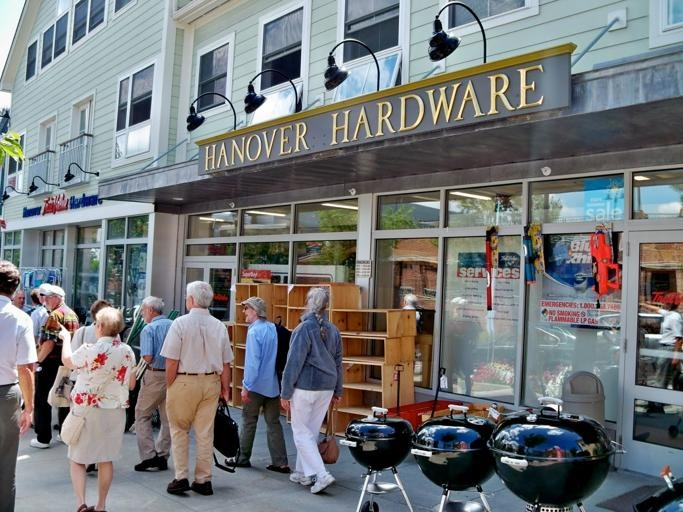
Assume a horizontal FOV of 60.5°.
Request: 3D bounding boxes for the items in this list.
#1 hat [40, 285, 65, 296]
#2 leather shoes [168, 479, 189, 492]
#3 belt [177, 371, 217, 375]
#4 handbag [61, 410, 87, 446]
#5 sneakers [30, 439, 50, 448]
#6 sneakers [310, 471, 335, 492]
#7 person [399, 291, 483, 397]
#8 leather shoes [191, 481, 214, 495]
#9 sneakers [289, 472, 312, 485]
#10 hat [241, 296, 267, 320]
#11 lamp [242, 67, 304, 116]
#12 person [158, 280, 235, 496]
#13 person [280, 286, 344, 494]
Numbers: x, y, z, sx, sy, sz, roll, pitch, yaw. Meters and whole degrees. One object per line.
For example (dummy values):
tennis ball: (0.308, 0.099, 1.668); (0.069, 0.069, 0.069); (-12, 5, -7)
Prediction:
hat: (-3.457, 0.406, 7.051); (0.263, 0.129, 0.166); (22, -7, -27)
leather shoes: (-1.663, 2.369, 6.036); (0.225, 0.137, 0.115); (3, -6, -2)
belt: (-1.472, 1.215, 6.031); (0.391, 0.039, 0.109); (4, -5, -34)
handbag: (-2.472, 1.582, 5.334); (0.260, 0.304, 0.095); (-1, -6, 31)
sneakers: (-3.838, 2.389, 7.446); (0.286, 0.112, 0.104); (4, 1, 32)
sneakers: (-0.183, 2.382, 6.120); (0.133, 0.159, 0.352); (-22, -10, -48)
person: (1.597, 1.263, 8.473); (1.442, 1.229, 0.332); (7, 6, 33)
leather shoes: (-1.428, 2.400, 6.034); (0.099, 0.105, 0.264); (2, 0, -44)
sneakers: (-0.447, 2.450, 6.392); (0.265, 0.105, 0.105); (2, 0, 42)
hat: (-1.031, 0.597, 6.905); (0.334, 0.233, 0.244); (23, 5, 28)
lamp: (-1.159, -2.740, 9.880); (0.978, 0.849, 0.356); (-9, 30, -8)
person: (-1.530, 1.370, 6.122); (0.735, 2.188, 0.364); (4, -5, -20)
person: (-0.326, 1.428, 6.415); (0.647, 2.158, 0.551); (2, -5, 0)
